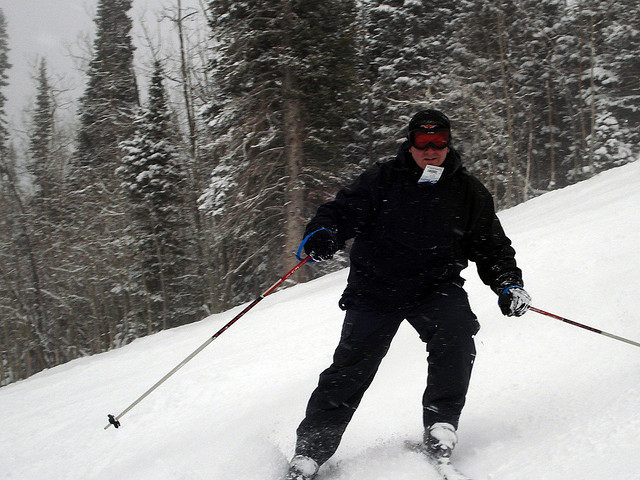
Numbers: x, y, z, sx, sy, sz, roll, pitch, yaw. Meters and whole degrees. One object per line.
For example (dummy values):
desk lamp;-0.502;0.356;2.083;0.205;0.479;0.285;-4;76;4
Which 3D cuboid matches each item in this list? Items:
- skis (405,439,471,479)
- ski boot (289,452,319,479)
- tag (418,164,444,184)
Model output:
skis;1.342;2.606;8.208;1.000;0.176;0.107;24;25;20
ski boot;-0.203;2.682;8.200;0.364;0.244;0.113;-8;4;-6
tag;1.329;-0.785;8.222;0.272;0.226;0.035;21;17;0
